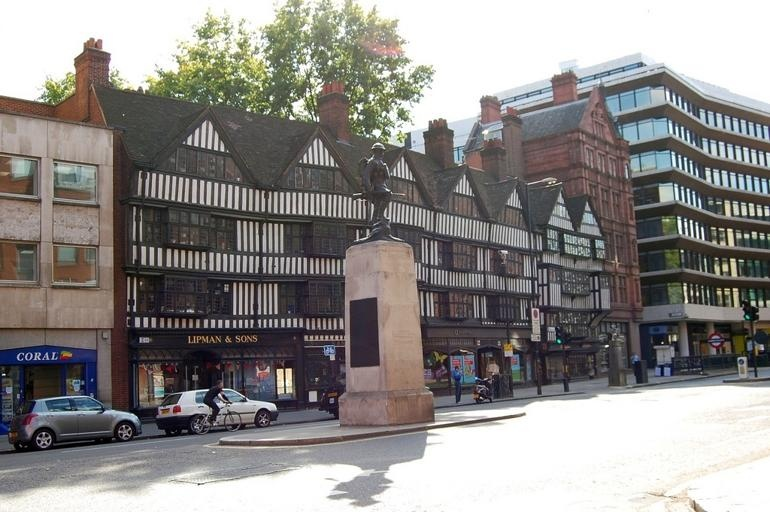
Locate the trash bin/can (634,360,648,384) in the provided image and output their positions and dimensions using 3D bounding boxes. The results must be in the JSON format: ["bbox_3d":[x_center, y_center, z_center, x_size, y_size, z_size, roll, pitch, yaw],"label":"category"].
[{"bbox_3d":[17.060,7.718,56.372,0.727,1.604,2.165,-8,-14,18],"label":"trash bin/can"}]

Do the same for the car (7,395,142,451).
[{"bbox_3d":[-13.240,6.870,35.759,4.755,1.787,2.271,0,-7,-32],"label":"car"}]

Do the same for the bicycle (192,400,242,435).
[{"bbox_3d":[-7.806,7.048,37.851,0.856,1.125,2.313,5,11,43],"label":"bicycle"}]

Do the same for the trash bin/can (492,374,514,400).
[{"bbox_3d":[7.153,7.899,51.420,1.433,1.858,1.416,-6,-9,25],"label":"trash bin/can"}]

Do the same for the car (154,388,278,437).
[{"bbox_3d":[-7.661,7.036,38.743,5.013,1.734,2.243,-1,-5,-33],"label":"car"}]

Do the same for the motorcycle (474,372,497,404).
[{"bbox_3d":[5.552,7.663,48.172,0.925,1.507,2.087,-6,-13,12],"label":"motorcycle"}]

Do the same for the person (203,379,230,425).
[{"bbox_3d":[-7.544,6.465,37.224,0.978,1.830,1.048,-1,-13,-12],"label":"person"}]
